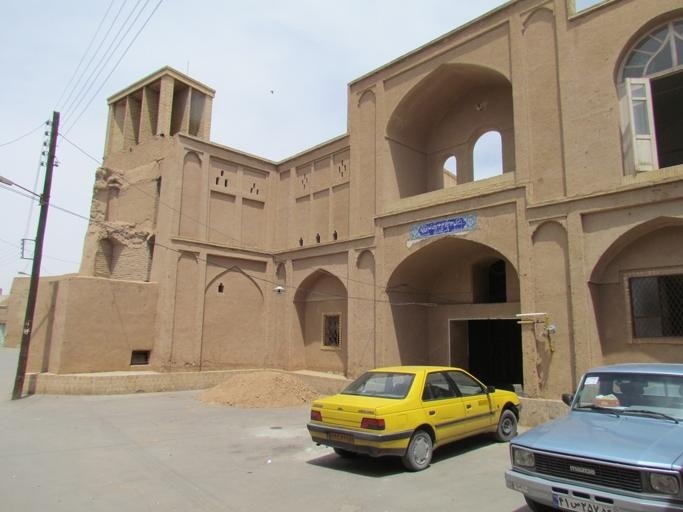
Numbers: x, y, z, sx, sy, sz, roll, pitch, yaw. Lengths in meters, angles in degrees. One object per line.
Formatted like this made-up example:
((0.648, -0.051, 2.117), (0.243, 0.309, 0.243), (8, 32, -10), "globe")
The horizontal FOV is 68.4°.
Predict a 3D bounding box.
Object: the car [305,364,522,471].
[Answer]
((1.456, 2.717, 9.196), (3.191, 1.054, 1.727), (3, -11, -40), "car")
